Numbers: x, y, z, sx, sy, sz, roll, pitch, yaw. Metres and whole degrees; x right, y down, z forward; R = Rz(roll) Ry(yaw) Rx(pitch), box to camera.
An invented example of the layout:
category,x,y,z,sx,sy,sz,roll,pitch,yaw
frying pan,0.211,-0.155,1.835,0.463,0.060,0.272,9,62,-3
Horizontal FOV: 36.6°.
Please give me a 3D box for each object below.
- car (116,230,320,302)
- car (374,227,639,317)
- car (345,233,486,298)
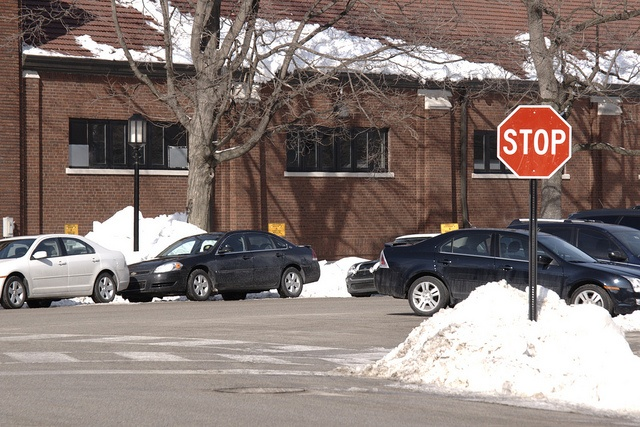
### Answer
category,x,y,z,sx,sy,sz,roll,pitch,yaw
car,-2.657,1.561,27.048,4.562,1.506,2.074,5,-10,-37
car,4.199,1.281,22.624,5.175,1.672,2.354,-2,-4,20
car,2.173,1.509,27.627,2.639,1.243,1.502,0,-3,-10
